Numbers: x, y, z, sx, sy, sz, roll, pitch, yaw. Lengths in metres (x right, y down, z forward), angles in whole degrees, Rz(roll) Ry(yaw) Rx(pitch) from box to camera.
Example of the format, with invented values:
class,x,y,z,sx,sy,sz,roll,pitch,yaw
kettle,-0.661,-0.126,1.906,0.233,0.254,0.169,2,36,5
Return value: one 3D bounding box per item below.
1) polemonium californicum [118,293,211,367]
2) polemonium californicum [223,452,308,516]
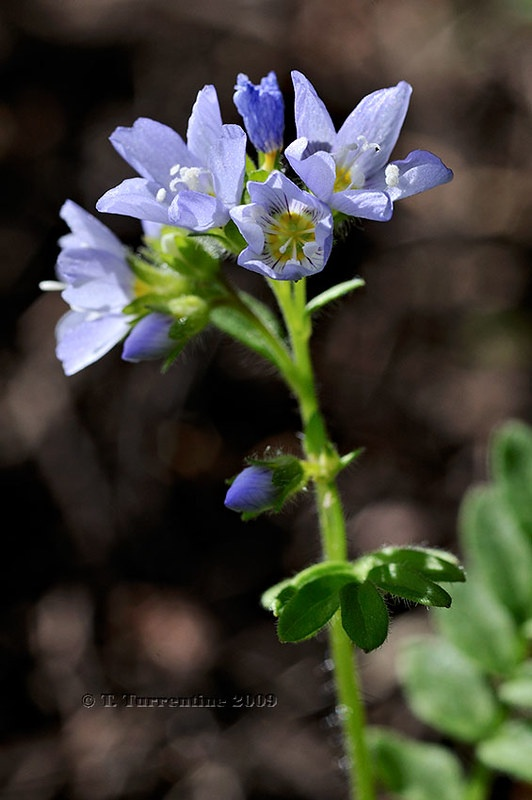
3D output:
class,x,y,z,sx,sy,sz,roll,pitch,yaw
polemonium californicum,-0.216,-0.143,1.684,0.122,0.062,0.177,13,39,37
polemonium californicum,-0.015,0.171,1.544,0.153,0.057,0.114,-34,95,-32
